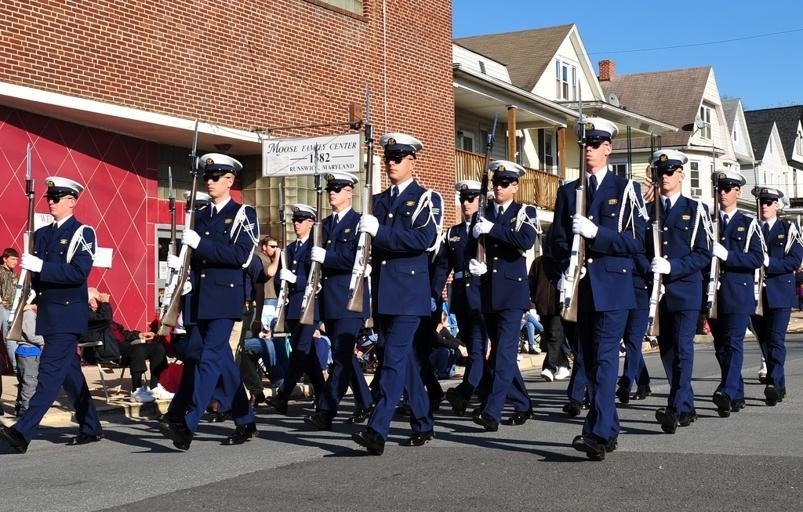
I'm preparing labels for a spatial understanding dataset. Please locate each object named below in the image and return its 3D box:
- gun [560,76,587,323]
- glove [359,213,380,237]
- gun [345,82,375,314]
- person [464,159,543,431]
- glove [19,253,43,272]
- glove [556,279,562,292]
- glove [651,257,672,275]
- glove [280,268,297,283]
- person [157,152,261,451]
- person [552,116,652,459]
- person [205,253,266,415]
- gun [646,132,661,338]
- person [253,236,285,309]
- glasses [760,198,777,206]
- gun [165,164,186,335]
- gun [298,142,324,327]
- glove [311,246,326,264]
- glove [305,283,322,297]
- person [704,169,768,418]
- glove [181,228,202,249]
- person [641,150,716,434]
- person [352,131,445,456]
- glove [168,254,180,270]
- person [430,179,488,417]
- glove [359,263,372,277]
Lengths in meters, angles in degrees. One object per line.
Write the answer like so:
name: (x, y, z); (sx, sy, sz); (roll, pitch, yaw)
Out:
gun: (1.938, -0.382, 11.253); (0.390, 2.027, 0.350); (0, 0, 13)
glove: (-0.373, -0.348, 11.413); (0.219, 0.257, 0.165); (0, -4, -9)
gun: (-0.436, -0.559, 11.672); (0.531, 2.336, 0.480); (2, -2, -2)
person: (1.273, 0.453, 12.659); (0.845, 3.399, 0.609); (-1, -4, 1)
glove: (-4.324, 0.076, 11.831); (0.231, 0.225, 0.151); (1, -4, -20)
glove: (1.758, 0.316, 11.257); (0.043, 0.115, 0.059); (18, -15, -24)
glove: (3.132, 0.099, 12.199); (0.295, 0.200, 0.169); (3, -5, -41)
glove: (-1.602, 0.271, 14.178); (0.213, 0.206, 0.218); (1, -4, -19)
person: (-2.182, 0.470, 11.905); (1.100, 3.293, 1.480); (-1, -1, 6)
person: (2.287, 0.353, 11.535); (1.218, 3.533, 1.438); (-1, 0, 17)
person: (-2.316, 1.107, 15.190); (0.950, 2.461, 1.007); (-1, -1, 9)
gun: (3.108, -0.096, 12.449); (0.326, 2.026, 0.263); (0, 0, 12)
person: (-2.304, 0.279, 17.507); (0.559, 1.270, 0.580); (0, -1, 2)
glasses: (5.269, -0.777, 14.590); (0.123, 0.036, 0.125); (-4, -33, 32)
gun: (-2.606, 0.047, 11.862); (0.331, 1.708, 0.272); (0, -1, -6)
gun: (-1.090, -0.213, 12.335); (0.466, 2.027, 0.430); (-1, 0, 1)
glove: (-1.005, -0.018, 12.176); (0.170, 0.194, 0.236); (0, -4, -6)
glove: (-1.075, 0.360, 12.250); (0.117, 0.282, 0.079); (14, 7, -32)
person: (4.416, 0.453, 13.812); (1.100, 3.006, 1.023); (-1, 0, 22)
glove: (-2.457, -0.205, 11.809); (0.214, 0.241, 0.225); (0, -4, -12)
person: (3.459, 0.400, 12.594); (1.352, 3.020, 1.082); (0, 0, -27)
person: (0.007, 0.395, 11.786); (1.198, 3.501, 1.323); (-2, 3, 13)
glove: (-2.652, 0.072, 11.927); (0.153, 0.158, 0.195); (-2, -9, 27)
person: (1.096, 0.506, 14.454); (1.039, 2.996, 1.388); (-4, 7, 9)
glove: (-0.404, 0.167, 11.607); (0.102, 0.127, 0.032); (-1, 6, -42)
